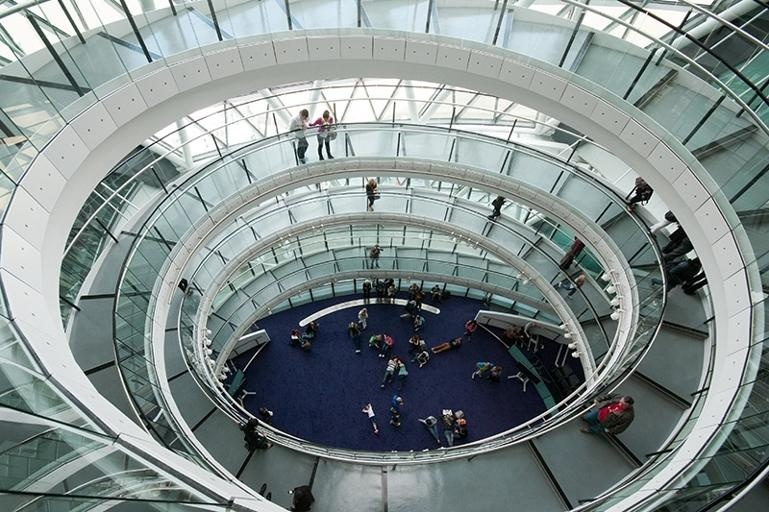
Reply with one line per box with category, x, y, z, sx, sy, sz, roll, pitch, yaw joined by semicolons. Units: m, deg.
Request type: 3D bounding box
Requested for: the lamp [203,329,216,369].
lamp;-9.334;4.941;26.793;0.471;0.836;2.715;-22;43;3
